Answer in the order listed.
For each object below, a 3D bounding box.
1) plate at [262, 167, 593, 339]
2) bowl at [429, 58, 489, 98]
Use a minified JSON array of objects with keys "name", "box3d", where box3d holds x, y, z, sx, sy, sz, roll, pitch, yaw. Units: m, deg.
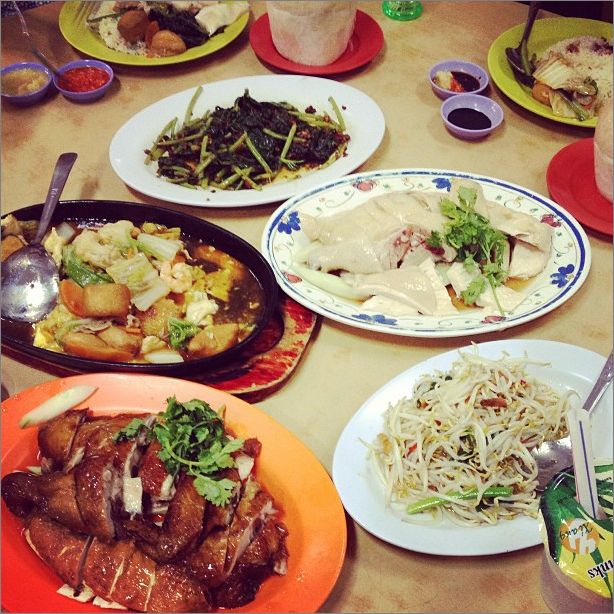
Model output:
[{"name":"plate","box3d":[0.441,-0.244,2.285,1.220,0.154,0.903,-8,51,1]},{"name":"bowl","box3d":[0.834,-1.178,3.118,0.268,0.256,0.092,0,10,-39]}]
